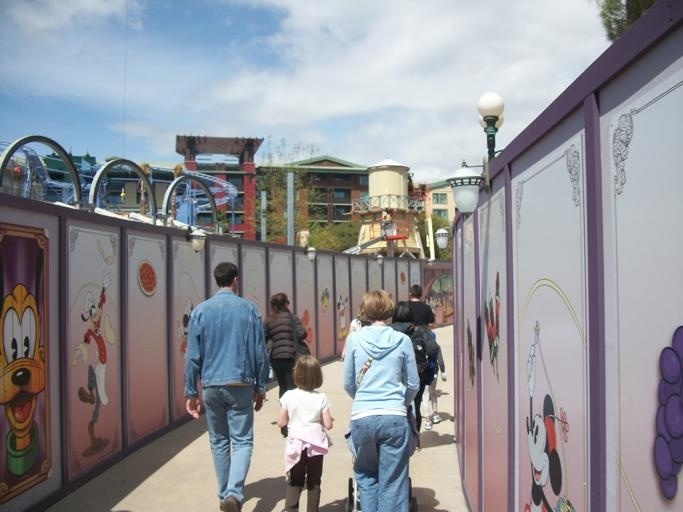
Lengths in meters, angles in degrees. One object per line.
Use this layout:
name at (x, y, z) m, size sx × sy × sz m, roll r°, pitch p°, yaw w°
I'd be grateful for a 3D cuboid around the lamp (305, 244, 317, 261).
lamp at (-0.654, -0.063, 16.279) m, size 0.201 × 0.382 × 0.280 m, roll -2°, pitch 4°, yaw -7°

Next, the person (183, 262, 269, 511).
person at (-1.024, 1.181, 6.900) m, size 0.655 × 2.258 × 0.640 m, roll -1°, pitch -3°, yaw 33°

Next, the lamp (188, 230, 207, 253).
lamp at (-2.025, -0.198, 10.754) m, size 0.209 × 0.337 × 0.245 m, roll 1°, pitch 7°, yaw -1°

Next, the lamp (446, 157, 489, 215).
lamp at (1.026, -0.576, 6.320) m, size 0.270 × 0.415 × 0.427 m, roll 0°, pitch -3°, yaw 9°

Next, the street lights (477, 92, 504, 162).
street lights at (1.400, -1.198, 7.178) m, size 0.216 × 0.745 × 0.852 m, roll 0°, pitch -3°, yaw 11°

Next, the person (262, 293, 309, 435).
person at (-0.726, 1.227, 9.705) m, size 0.446 × 1.617 × 0.456 m, roll -2°, pitch 11°, yaw 4°
